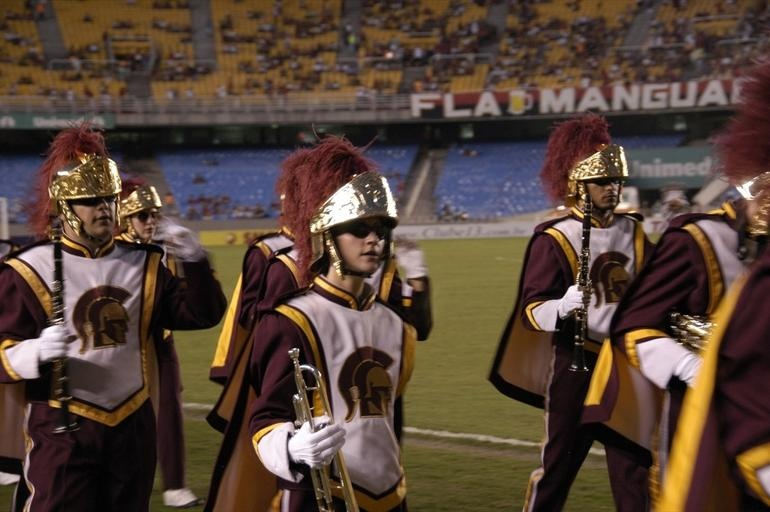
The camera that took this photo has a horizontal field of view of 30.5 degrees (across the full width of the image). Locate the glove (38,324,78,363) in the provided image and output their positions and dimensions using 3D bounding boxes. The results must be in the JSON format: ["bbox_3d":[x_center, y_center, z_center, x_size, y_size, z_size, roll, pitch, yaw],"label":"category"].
[{"bbox_3d":[-5.138,1.346,21.887,0.551,0.579,0.227,-1,15,-9],"label":"glove"}]

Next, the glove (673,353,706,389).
[{"bbox_3d":[4.663,1.732,21.677,0.350,0.488,0.198,6,16,20],"label":"glove"}]

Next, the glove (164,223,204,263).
[{"bbox_3d":[-3.156,-0.249,22.195,0.659,0.607,0.303,0,15,-2],"label":"glove"}]

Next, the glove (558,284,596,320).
[{"bbox_3d":[3.103,0.728,22.913,0.534,0.536,0.265,-7,17,-31],"label":"glove"}]

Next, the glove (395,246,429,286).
[{"bbox_3d":[0.420,0.140,22.656,0.630,0.552,0.302,-7,-2,4],"label":"glove"}]
